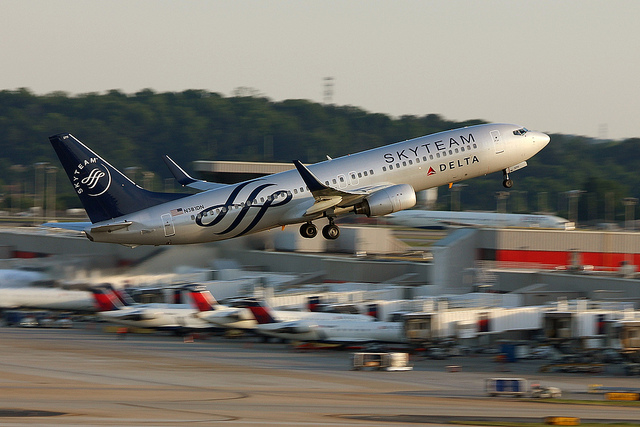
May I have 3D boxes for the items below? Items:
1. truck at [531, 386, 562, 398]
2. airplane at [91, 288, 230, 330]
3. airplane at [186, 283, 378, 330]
[{"bbox_3d":[15.039,11.933,87.157,1.527,0.386,1.157,-3,6,-18],"label":"truck"},{"bbox_3d":[-11.597,7.600,102.094,12.057,2.278,7.895,3,4,8],"label":"airplane"},{"bbox_3d":[-3.706,7.073,102.543,12.926,2.410,8.522,-2,11,-12],"label":"airplane"}]
